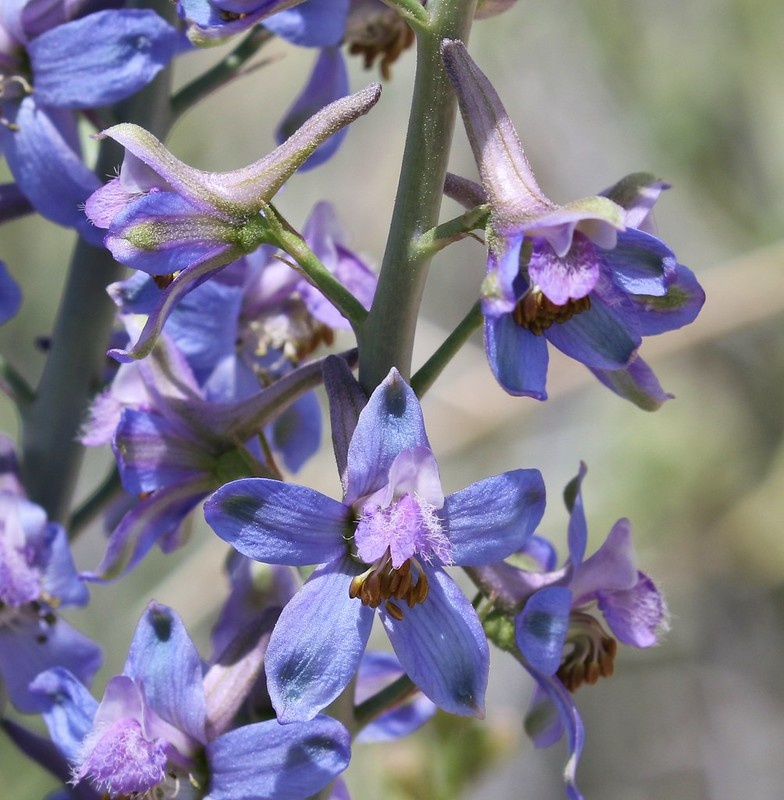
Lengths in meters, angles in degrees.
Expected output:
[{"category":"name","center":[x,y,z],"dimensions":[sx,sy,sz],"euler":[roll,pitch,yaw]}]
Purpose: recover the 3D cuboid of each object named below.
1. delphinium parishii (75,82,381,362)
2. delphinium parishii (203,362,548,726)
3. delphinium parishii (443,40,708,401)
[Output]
[{"category":"delphinium parishii","center":[-0.151,-0.186,1.252],"dimensions":[0.296,0.230,0.179],"euler":[-9,18,-15]},{"category":"delphinium parishii","center":[-0.022,0.151,1.185],"dimensions":[0.293,0.146,0.285],"euler":[-40,92,-7]},{"category":"delphinium parishii","center":[0.098,-0.151,1.198],"dimensions":[0.195,0.194,0.349],"euler":[-8,51,-46]}]
